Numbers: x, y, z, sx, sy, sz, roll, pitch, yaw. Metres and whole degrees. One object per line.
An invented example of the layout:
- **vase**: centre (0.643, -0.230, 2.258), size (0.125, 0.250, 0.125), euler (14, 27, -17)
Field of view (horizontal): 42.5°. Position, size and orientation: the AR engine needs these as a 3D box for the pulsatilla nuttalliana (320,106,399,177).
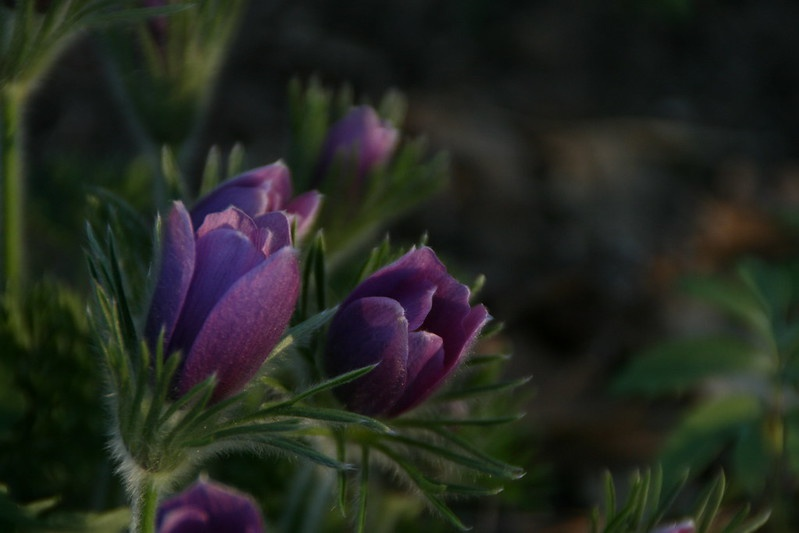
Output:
- **pulsatilla nuttalliana**: centre (-0.049, -0.148, 1.262), size (0.083, 0.100, 0.081), euler (16, 16, -6)
